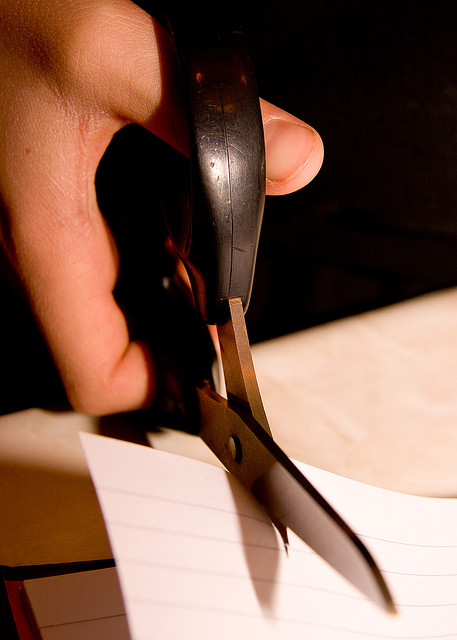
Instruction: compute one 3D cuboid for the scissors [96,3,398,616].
[{"bbox_3d":[-0.036,-0.048,0.386,0.111,0.242,0.385,-11,33,-12],"label":"scissors"}]
